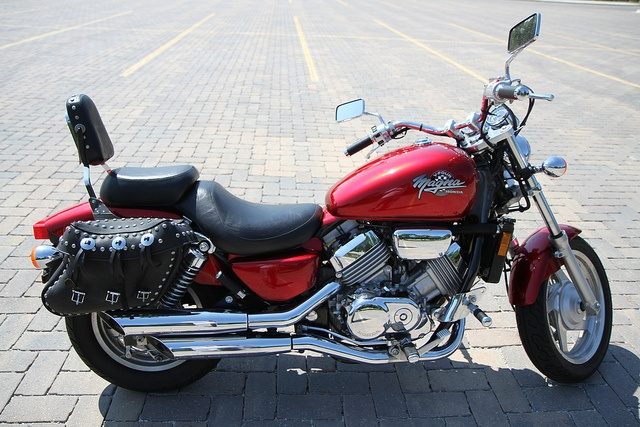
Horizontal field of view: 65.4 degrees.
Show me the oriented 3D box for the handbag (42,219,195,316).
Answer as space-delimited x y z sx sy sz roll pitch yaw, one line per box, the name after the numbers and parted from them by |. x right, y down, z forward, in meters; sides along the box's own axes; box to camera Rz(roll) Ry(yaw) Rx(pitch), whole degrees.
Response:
-1.498 0.397 3.745 1.042 0.492 0.322 -2 1 -1 | handbag
